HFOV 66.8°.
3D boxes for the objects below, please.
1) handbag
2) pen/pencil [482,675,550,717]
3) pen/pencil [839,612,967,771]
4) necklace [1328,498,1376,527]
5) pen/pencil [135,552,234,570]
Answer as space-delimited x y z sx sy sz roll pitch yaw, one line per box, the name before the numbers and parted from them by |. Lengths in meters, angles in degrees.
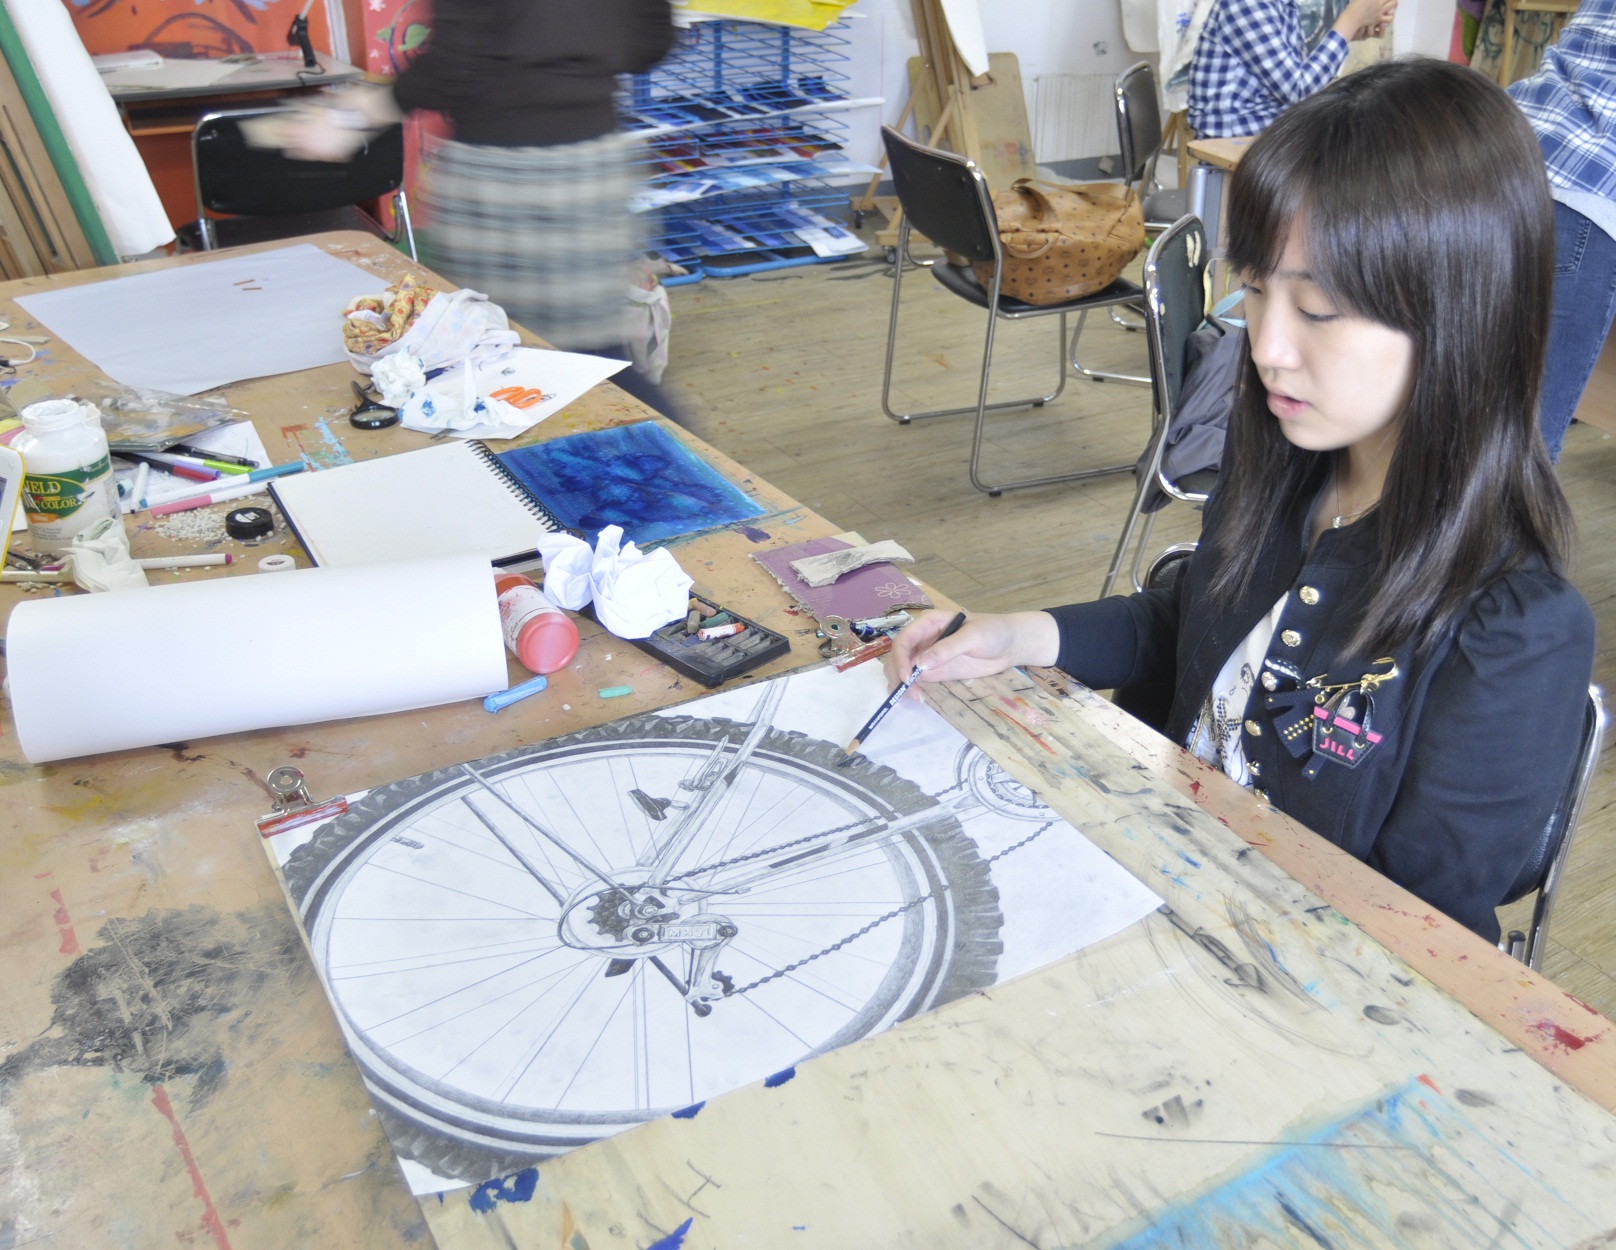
handbag | 0.592 -0.980 3.050 0.399 0.160 0.416 -6 24 -8
pen/pencil | -0.239 0.056 1.005 0.071 0.016 0.017 -18 11 -20
pen/pencil | 0.079 0.057 0.997 0.023 0.020 0.200 10 39 45
necklace | 0.497 -0.104 1.125 0.034 0.010 0.042 -29 12 13
pen/pencil | -0.589 -0.062 1.163 0.092 0.012 0.016 -1 25 -9
